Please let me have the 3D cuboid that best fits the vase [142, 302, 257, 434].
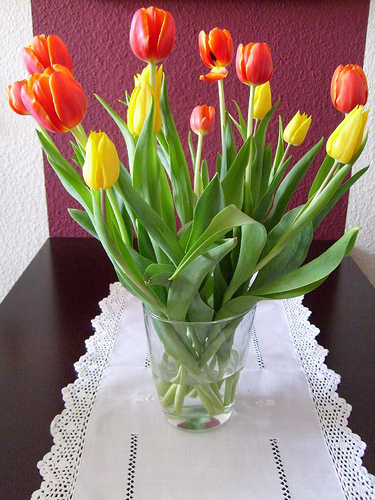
[{"bbox_3d":[0.012,0.100,0.460,0.103,0.172,0.105,-2,24,2],"label":"vase"}]
